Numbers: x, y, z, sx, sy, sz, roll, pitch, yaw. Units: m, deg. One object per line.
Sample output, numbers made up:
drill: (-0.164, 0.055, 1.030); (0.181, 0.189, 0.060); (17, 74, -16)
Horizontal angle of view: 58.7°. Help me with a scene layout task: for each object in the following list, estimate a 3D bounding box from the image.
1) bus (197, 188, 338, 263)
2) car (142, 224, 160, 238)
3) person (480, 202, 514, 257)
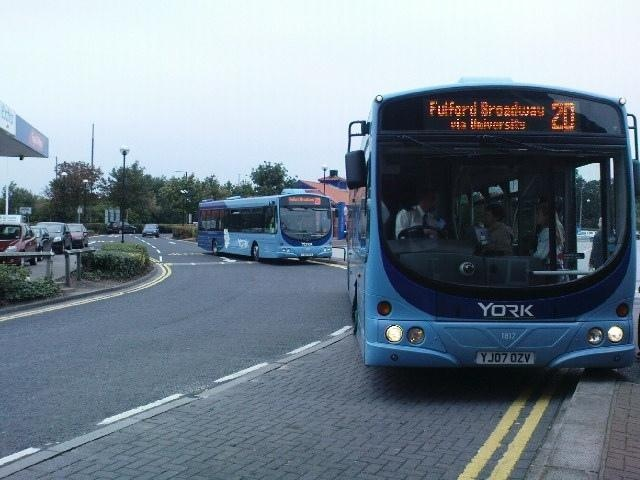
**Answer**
bus: (-3.284, -0.540, 30.398); (2.931, 3.362, 10.250); (0, -1, -23)
car: (-22.741, -1.255, 76.816); (1.480, 1.471, 2.925); (0, -5, -9)
person: (2.170, -0.130, 7.124); (0.484, 0.941, 0.544); (2, -1, 19)
